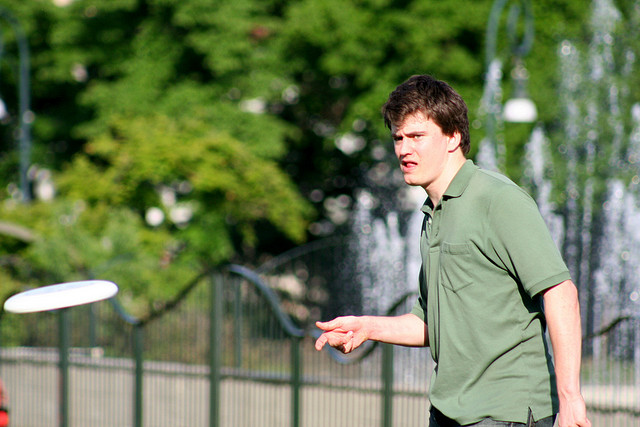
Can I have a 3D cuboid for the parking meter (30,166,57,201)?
[{"bbox_3d":[-5.597,-0.569,40.886,0.575,0.651,0.155,-1,-7,25],"label":"parking meter"}]
